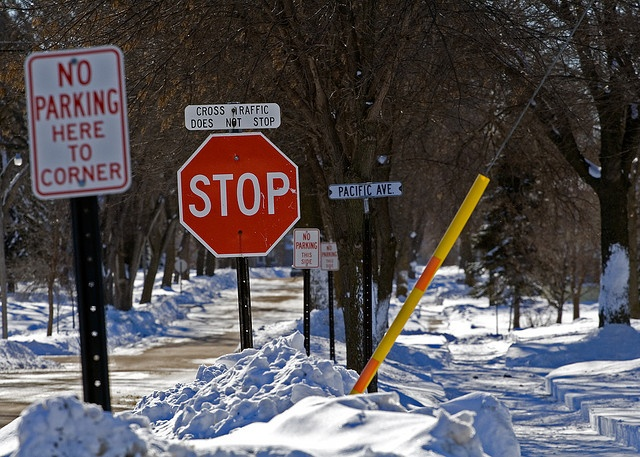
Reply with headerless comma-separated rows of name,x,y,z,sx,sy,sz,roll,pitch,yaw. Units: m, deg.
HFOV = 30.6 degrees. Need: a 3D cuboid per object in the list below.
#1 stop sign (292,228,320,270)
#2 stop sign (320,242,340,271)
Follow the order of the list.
stop sign,-0.344,0.513,30.289,0.935,1.529,0.140,0,-9,-7
stop sign,0.256,0.729,30.978,0.494,0.783,0.750,0,-4,1
